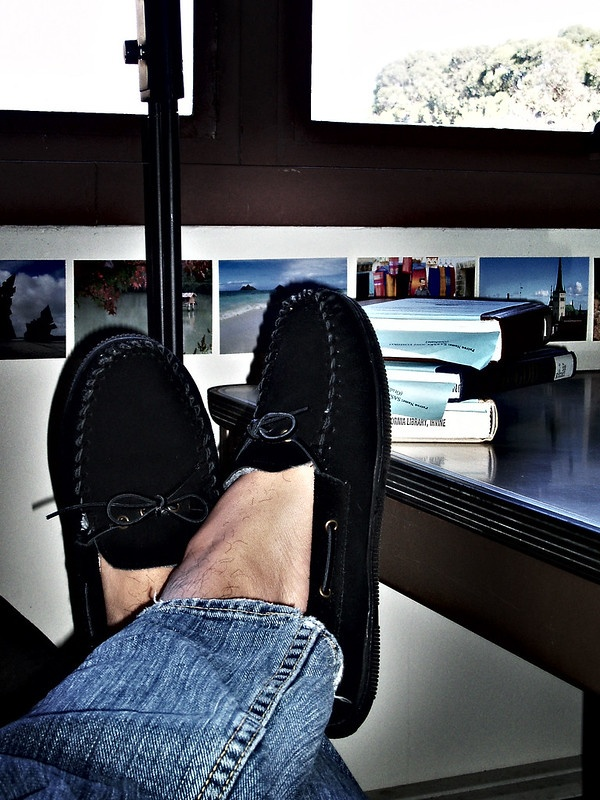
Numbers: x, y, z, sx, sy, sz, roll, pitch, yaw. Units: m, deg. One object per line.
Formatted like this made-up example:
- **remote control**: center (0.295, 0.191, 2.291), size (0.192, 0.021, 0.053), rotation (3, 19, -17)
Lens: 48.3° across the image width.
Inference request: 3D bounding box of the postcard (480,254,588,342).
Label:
- **postcard**: center (0.305, -0.132, 0.876), size (0.125, 0.118, 0.005), rotation (1, 2, 4)

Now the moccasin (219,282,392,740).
- **moccasin**: center (0.017, 0.066, 0.746), size (0.158, 0.553, 0.152), rotation (-5, -7, 44)

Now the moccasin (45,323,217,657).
- **moccasin**: center (-0.206, 0.097, 0.883), size (0.184, 0.430, 0.118), rotation (-4, 6, 8)
